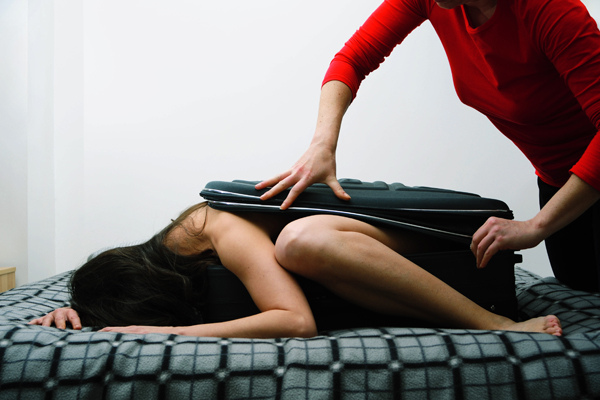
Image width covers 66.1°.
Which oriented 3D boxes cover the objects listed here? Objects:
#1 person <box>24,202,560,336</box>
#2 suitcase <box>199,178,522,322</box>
[{"bbox_3d":[-0.188,0.275,1.674,1.198,0.274,0.816,-1,-9,3],"label":"person"},{"bbox_3d":[0.337,0.112,1.688,0.746,0.320,0.723,5,-4,-4],"label":"suitcase"}]
